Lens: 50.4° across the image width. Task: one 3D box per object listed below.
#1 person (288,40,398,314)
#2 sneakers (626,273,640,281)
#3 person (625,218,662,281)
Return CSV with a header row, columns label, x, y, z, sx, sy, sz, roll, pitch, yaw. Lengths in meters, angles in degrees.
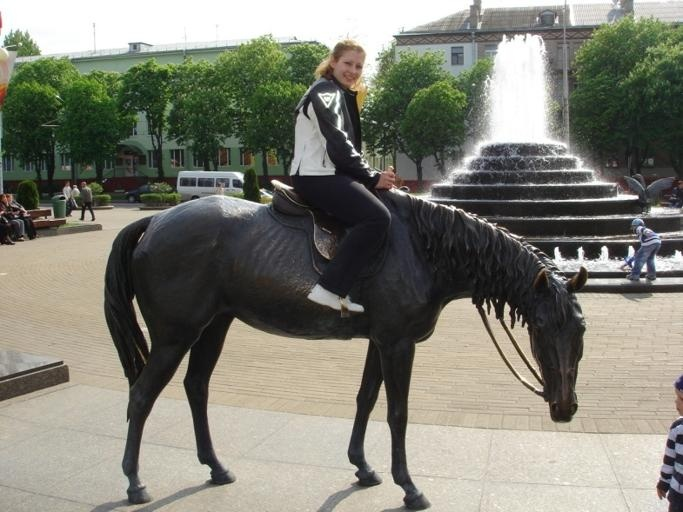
label,x,y,z,sx,sy,sz,roll,pitch,yaw
person,0.012,-0.704,6.251,0.852,2.304,0.805,-2,9,-8
sneakers,6.079,0.436,15.156,0.119,0.134,0.294,2,8,-6
person,6.368,-0.051,15.297,0.560,1.071,1.081,3,10,21
